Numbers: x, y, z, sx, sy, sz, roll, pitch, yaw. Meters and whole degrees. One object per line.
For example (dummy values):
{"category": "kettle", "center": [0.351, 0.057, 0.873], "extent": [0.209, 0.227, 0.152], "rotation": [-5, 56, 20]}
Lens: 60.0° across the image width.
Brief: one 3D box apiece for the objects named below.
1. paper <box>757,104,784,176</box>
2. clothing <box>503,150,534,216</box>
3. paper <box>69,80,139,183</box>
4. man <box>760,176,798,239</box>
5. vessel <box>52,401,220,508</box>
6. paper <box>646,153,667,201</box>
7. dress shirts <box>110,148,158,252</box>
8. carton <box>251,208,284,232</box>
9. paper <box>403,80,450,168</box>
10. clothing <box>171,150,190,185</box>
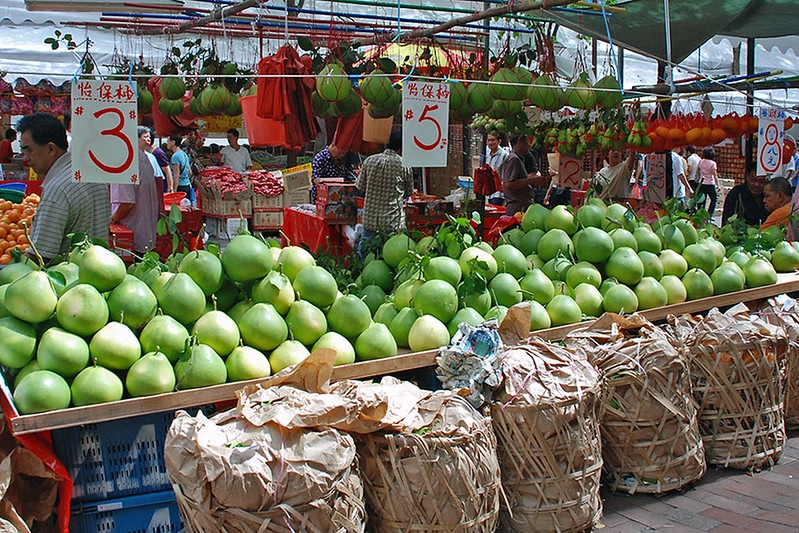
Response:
{"category": "paper", "center": [3.553, -1.222, 6.593], "extent": [0.671, 0.983, 0.047], "rotation": [-3, 4, -42]}
{"category": "clothing", "center": [1.548, -1.091, 9.001], "extent": [0.368, 0.827, 0.643], "rotation": [4, 15, 23]}
{"category": "paper", "center": [-1.797, -0.819, 4.180], "extent": [0.384, 0.619, 0.167], "rotation": [-5, 12, -26]}
{"category": "man", "center": [3.652, -0.558, 6.624], "extent": [0.353, 0.649, 0.660], "rotation": [5, 2, 35]}
{"category": "vessel", "center": [-1.391, 0.947, 3.990], "extent": [0.864, 0.572, 0.670], "rotation": [-7, 17, -2]}
{"category": "paper", "center": [3.232, -1.116, 8.668], "extent": [0.277, 0.705, 0.063], "rotation": [6, -22, 11]}
{"category": "dress shirts", "center": [-2.446, -0.765, 6.276], "extent": [0.388, 0.761, 0.542], "rotation": [3, 40, -27]}
{"category": "carton", "center": [-1.744, -0.627, 9.081], "extent": [0.355, 0.384, 0.227], "rotation": [1, 16, -16]}
{"category": "paper", "center": [0.184, -1.002, 4.812], "extent": [0.340, 0.618, 0.008], "rotation": [1, -2, -8]}
{"category": "clothing", "center": [-3.321, -1.487, 10.324], "extent": [0.257, 0.514, 0.406], "rotation": [-6, 6, 0]}
